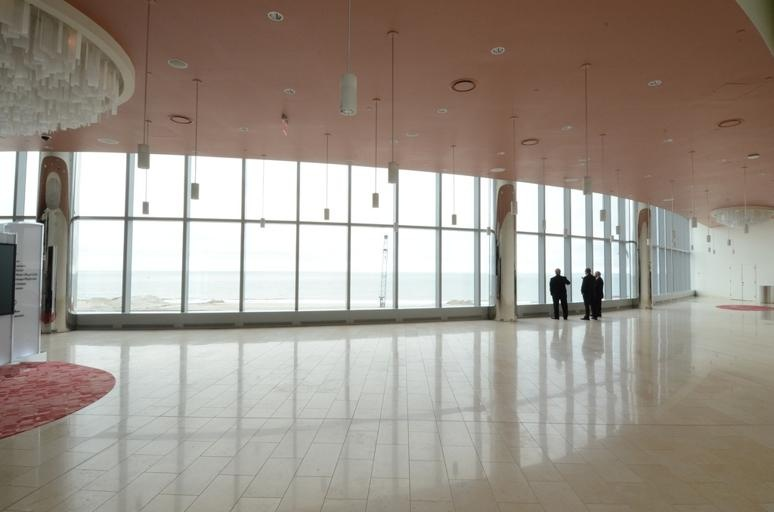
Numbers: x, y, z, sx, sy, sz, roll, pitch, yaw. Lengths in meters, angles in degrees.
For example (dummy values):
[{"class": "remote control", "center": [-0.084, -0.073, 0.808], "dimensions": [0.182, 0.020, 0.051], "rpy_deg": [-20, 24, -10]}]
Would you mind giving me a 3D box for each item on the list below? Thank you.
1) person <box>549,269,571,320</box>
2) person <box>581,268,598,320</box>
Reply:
[{"class": "person", "center": [5.477, 1.211, 17.884], "dimensions": [0.654, 1.744, 1.268], "rpy_deg": [5, 15, 16]}, {"class": "person", "center": [6.421, 1.298, 17.753], "dimensions": [0.578, 1.505, 1.002], "rpy_deg": [3, 15, 11]}]
